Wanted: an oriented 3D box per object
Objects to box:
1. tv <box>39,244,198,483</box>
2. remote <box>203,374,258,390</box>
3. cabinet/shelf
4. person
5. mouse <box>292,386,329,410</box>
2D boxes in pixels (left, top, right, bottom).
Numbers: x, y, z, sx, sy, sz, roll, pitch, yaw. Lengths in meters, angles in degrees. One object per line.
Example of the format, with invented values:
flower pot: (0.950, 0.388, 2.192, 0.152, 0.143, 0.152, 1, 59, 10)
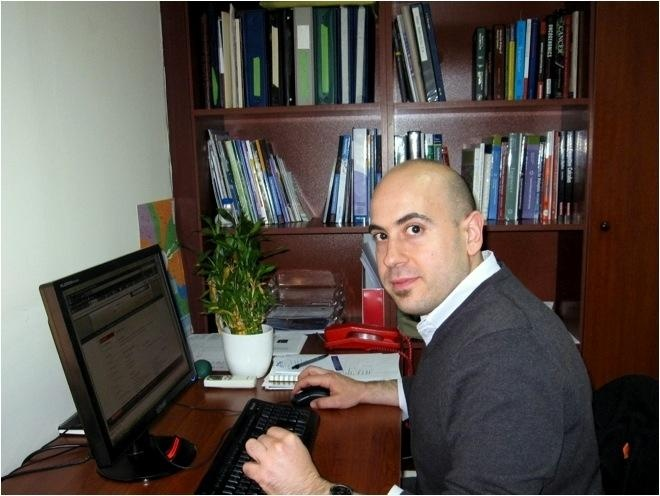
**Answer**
tv: (-0.558, 0.317, 1.298, 0.296, 0.535, 0.475, 0, 14, 10)
remote: (-0.336, 0.444, 1.668, 0.131, 0.027, 0.065, 3, -4, 0)
cabinet/shelf: (0.220, -0.324, 2.044, 1.722, 1.680, 0.509, -1, 6, 1)
person: (0.192, 0.245, 1.629, 0.932, 1.132, 0.868, 1, 2, 11)
mouse: (-0.060, 0.464, 1.561, 0.102, 0.034, 0.060, -1, -1, -6)
